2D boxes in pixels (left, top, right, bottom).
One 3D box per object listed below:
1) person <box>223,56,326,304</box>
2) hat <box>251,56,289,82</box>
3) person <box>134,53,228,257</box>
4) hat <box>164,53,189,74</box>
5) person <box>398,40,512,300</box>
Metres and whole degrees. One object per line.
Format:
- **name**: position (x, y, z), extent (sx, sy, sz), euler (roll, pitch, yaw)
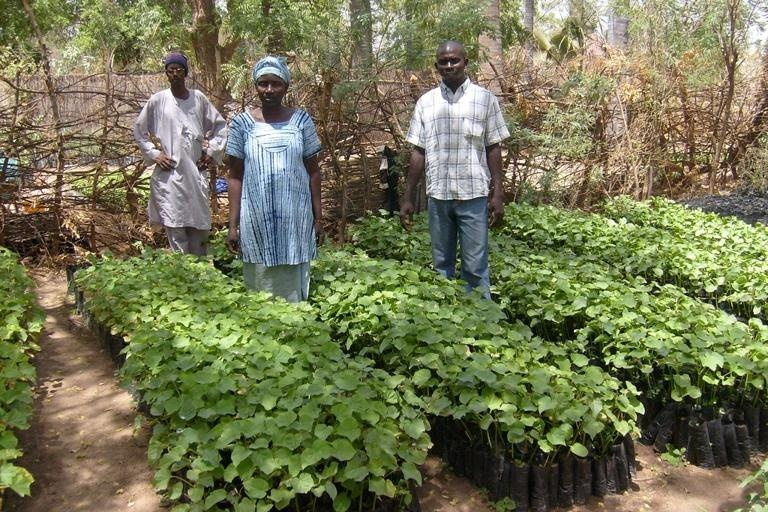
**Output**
- **person**: position (-0.962, -0.645, 4.659), extent (0.835, 2.112, 0.368), euler (-2, 10, -5)
- **hat**: position (-0.963, -1.576, 4.591), extent (0.252, 0.204, 0.272), euler (5, 14, 3)
- **person**: position (-2.185, -1.072, 5.832), extent (0.921, 2.184, 0.472), euler (-5, 11, -22)
- **hat**: position (-2.212, -2.063, 5.695), extent (0.221, 0.257, 0.418), euler (-4, 10, -21)
- **person**: position (0.694, -0.821, 5.239), extent (0.996, 2.426, 0.437), euler (1, 10, 10)
